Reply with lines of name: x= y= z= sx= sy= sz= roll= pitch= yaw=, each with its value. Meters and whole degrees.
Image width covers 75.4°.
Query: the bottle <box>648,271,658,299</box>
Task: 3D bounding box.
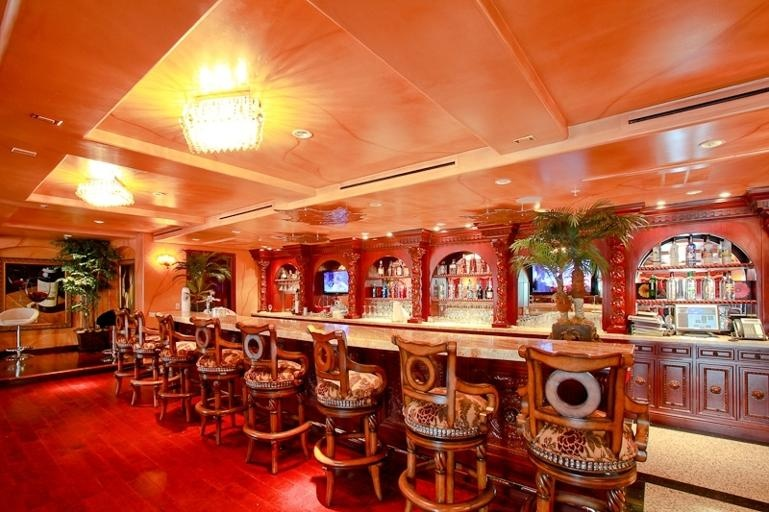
bottle: x=4.139 y=0.482 z=7.635 sx=0.112 sy=0.342 sz=0.184 roll=3 pitch=5 yaw=31

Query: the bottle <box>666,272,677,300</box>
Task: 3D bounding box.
bottle: x=4.304 y=0.509 z=7.430 sx=0.127 sy=0.310 sz=0.082 roll=3 pitch=5 yaw=29

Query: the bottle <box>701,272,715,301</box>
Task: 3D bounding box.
bottle: x=4.741 y=0.486 z=7.240 sx=0.161 sy=0.342 sz=0.115 roll=3 pitch=5 yaw=31

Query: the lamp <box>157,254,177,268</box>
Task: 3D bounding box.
lamp: x=-4.697 y=0.144 z=10.786 sx=0.167 sy=0.293 sz=0.440 roll=3 pitch=5 yaw=25

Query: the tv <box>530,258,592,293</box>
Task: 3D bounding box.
tv: x=2.511 y=0.296 z=6.995 sx=0.031 sy=0.409 sz=0.706 roll=10 pitch=-10 yaw=-39

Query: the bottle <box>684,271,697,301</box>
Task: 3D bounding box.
bottle: x=4.531 y=0.493 z=7.334 sx=0.153 sy=0.347 sz=0.109 roll=3 pitch=5 yaw=31

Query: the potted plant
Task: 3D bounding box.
potted plant: x=-6.833 y=0.865 z=11.568 sx=1.254 sy=2.573 sz=1.171 roll=-2 pitch=5 yaw=-33

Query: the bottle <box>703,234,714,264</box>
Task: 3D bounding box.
bottle: x=4.727 y=-0.048 z=7.248 sx=0.118 sy=0.305 sz=0.082 roll=3 pitch=5 yaw=24

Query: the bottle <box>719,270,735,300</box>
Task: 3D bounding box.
bottle: x=4.925 y=0.480 z=7.138 sx=0.188 sy=0.332 sz=0.139 roll=5 pitch=6 yaw=43

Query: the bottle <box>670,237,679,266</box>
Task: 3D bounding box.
bottle: x=4.392 y=-0.035 z=7.516 sx=0.084 sy=0.346 sz=0.140 roll=0 pitch=5 yaw=-11

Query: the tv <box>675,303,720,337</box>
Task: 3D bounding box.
tv: x=4.520 y=0.944 z=7.134 sx=0.466 sy=0.389 sz=0.184 roll=-1 pitch=-7 yaw=29

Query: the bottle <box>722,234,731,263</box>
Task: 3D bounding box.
bottle: x=4.946 y=-0.045 z=7.171 sx=0.115 sy=0.327 sz=0.182 roll=3 pitch=5 yaw=31
